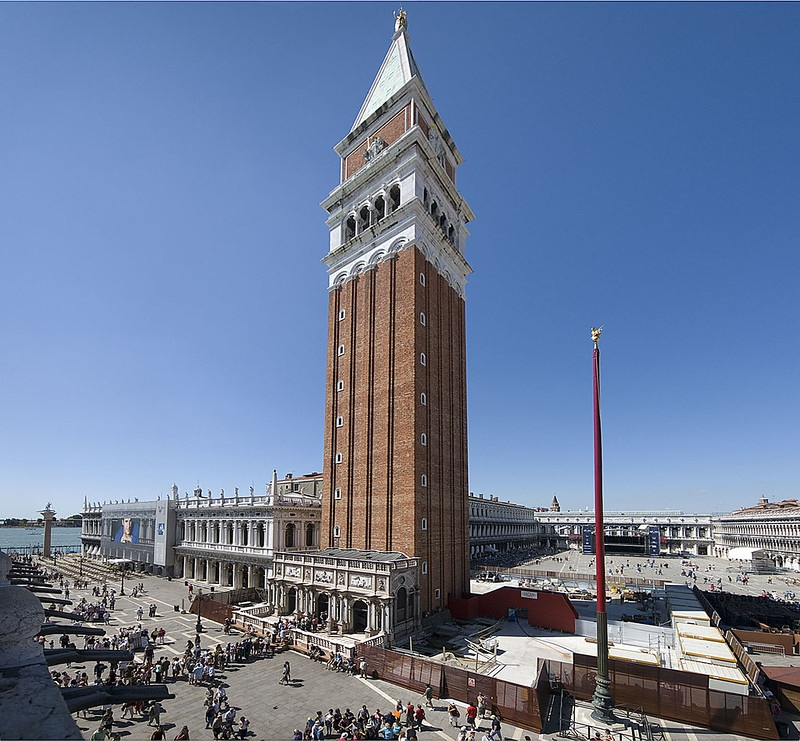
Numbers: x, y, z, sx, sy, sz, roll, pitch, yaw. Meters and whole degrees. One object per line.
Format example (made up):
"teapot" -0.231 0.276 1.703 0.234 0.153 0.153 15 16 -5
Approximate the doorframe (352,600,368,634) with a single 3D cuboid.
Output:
"doorframe" -2.889 17.919 49.929 1.804 3.247 0.336 -12 -19 37
